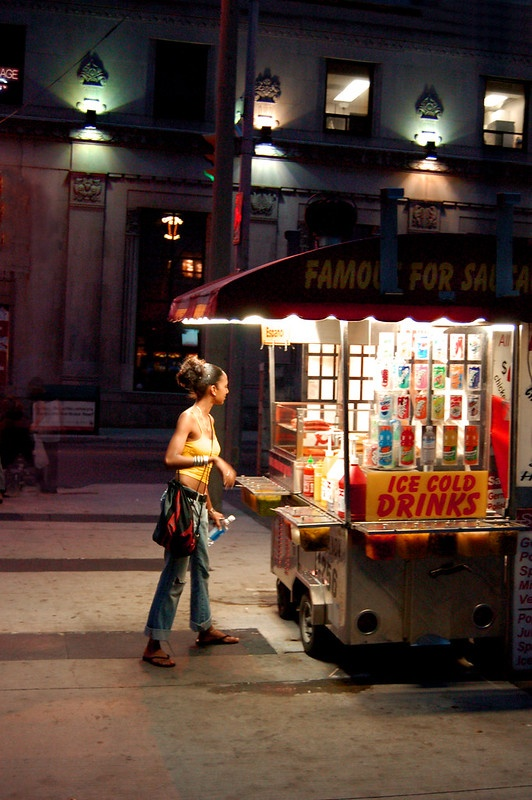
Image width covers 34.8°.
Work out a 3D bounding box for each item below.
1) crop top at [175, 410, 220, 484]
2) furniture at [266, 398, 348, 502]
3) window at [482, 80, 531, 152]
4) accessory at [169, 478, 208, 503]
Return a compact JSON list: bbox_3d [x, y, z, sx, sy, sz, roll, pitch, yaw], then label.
[{"bbox_3d":[-0.498,0.336,5.594,0.339,0.505,0.296,-2,-2,-4],"label":"crop top"},{"bbox_3d":[0.276,0.360,6.297,0.687,0.715,1.070,-1,4,-9],"label":"furniture"},{"bbox_3d":[6.762,-8.054,24.039,1.410,1.789,0.188,4,2,-24],"label":"window"},{"bbox_3d":[-0.501,0.591,5.456,0.214,0.095,0.146,20,-10,-31],"label":"accessory"}]
